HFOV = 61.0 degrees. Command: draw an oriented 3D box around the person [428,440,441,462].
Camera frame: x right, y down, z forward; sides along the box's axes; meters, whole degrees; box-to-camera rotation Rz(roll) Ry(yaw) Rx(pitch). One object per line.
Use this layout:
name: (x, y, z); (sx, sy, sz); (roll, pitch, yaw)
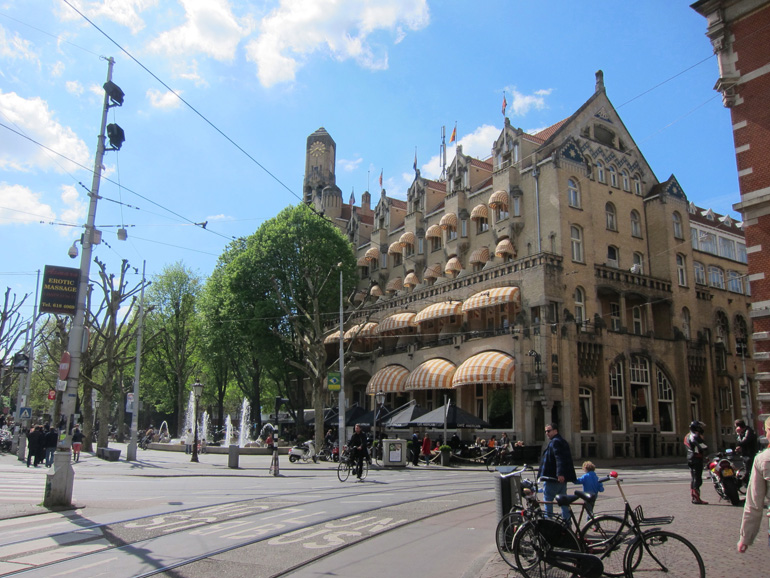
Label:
person: (2.929, 9.444, 37.267); (0.292, 0.945, 0.682); (8, -4, -7)

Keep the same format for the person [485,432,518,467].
person: (6.516, 9.085, 36.244); (1.513, 2.312, 0.701); (2, -4, 36)

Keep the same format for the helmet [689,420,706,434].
helmet: (9.137, 4.034, 19.165); (0.324, 0.350, 0.640); (-5, -19, 19)

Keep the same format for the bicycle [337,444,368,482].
bicycle: (-1.307, 7.417, 27.268); (0.912, 1.343, 2.109); (-18, -32, 32)

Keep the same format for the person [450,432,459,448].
person: (4.149, 9.084, 38.935); (0.535, 0.930, 1.126); (-1, -18, 6)

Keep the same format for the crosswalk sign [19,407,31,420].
crosswalk sign: (-21.276, 7.371, 38.760); (0.705, 0.885, 0.089); (8, -26, -43)

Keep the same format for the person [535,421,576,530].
person: (3.613, 3.948, 13.866); (0.658, 2.099, 0.866); (1, -12, 13)

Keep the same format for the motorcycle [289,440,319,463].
motorcycle: (-4.656, 9.456, 37.921); (1.418, 1.357, 2.089); (1, -18, 0)

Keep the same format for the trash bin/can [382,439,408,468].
trash bin/can: (0.458, 8.556, 34.578); (1.507, 2.106, 1.185); (1, -10, -2)
